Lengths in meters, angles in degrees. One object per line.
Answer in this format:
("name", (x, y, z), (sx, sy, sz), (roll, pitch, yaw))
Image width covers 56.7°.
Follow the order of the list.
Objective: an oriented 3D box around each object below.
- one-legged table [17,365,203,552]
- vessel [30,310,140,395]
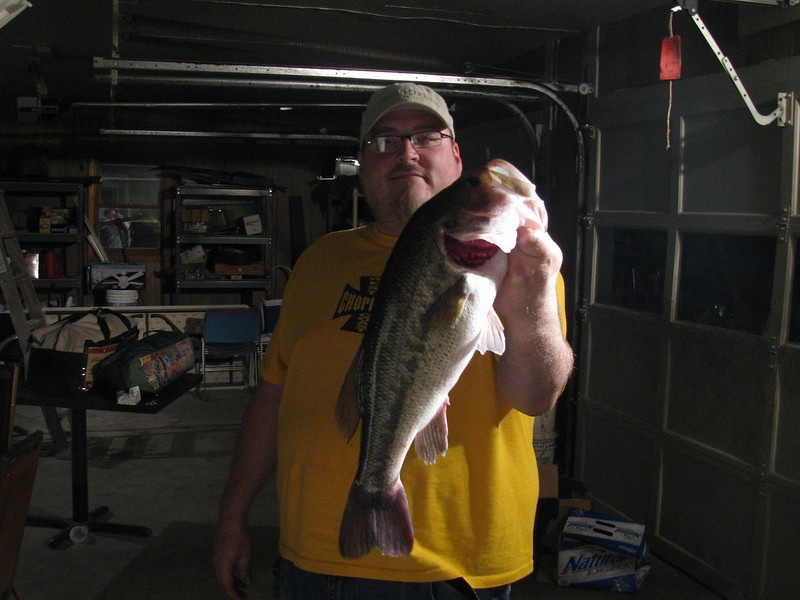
("one-legged table", (-2.150, 1.240, 5.699), (1.196, 1.134, 1.248), (1, 5, -5))
("vessel", (-2.335, 0.300, 5.663), (0.490, 0.537, 0.914), (14, 13, 7))
